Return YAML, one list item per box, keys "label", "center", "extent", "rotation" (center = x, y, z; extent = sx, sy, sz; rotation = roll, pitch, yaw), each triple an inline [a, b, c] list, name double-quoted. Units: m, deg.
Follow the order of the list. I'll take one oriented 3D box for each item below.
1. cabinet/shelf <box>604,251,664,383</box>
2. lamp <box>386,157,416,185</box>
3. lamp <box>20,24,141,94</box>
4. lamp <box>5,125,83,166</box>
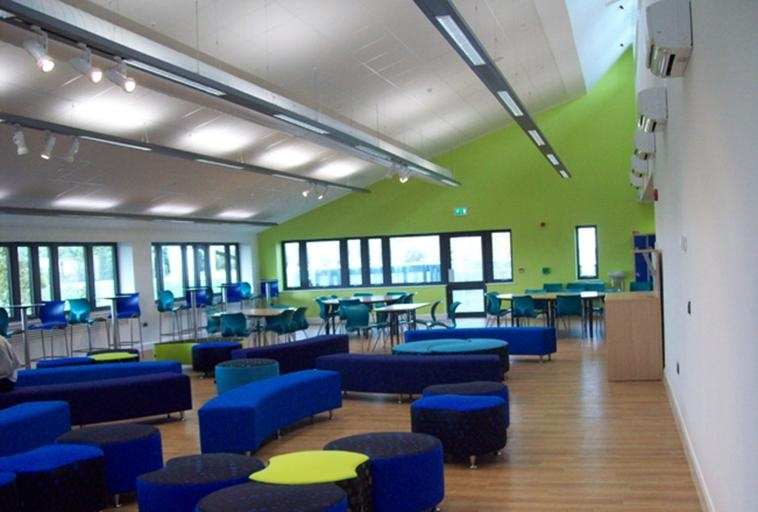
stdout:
- label: "cabinet/shelf"
  center: [4.267, 1.041, 9.654]
  extent: [0.836, 1.939, 2.049]
  rotation: [-1, -5, 17]
- label: "lamp"
  center: [0.467, -1.940, 12.963]
  extent: [0.601, 0.243, 0.588]
  rotation: [2, -4, -15]
- label: "lamp"
  center: [-3.781, -2.379, 7.316]
  extent: [1.173, 0.669, 1.417]
  rotation: [-1, -5, -31]
- label: "lamp"
  center: [-5.098, -1.690, 8.802]
  extent: [0.788, 0.331, 0.778]
  rotation: [2, 7, -13]
